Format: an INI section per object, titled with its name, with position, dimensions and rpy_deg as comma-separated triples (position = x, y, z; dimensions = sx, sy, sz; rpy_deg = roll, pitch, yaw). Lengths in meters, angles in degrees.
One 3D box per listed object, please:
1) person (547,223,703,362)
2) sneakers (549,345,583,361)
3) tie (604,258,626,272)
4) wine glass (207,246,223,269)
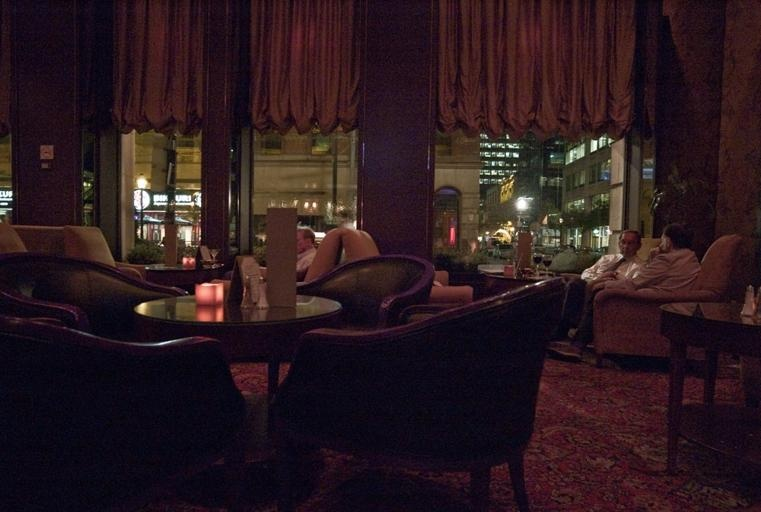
[person]
position = 2.360, 0.392, 6.520
dimensions = 1.251, 1.536, 0.662
rpy_deg = 10, -19, 17
[sneakers]
position = 1.803, 0.959, 6.537
dimensions = 0.315, 0.142, 0.132
rpy_deg = 9, -26, 30
[tie]
position = 2.559, 0.100, 7.250
dimensions = 0.051, 0.192, 0.118
rpy_deg = 22, 30, -36
[wine glass]
position = -1.923, 0.023, 7.612
dimensions = 0.239, 0.283, 0.244
rpy_deg = 1, -5, -1
